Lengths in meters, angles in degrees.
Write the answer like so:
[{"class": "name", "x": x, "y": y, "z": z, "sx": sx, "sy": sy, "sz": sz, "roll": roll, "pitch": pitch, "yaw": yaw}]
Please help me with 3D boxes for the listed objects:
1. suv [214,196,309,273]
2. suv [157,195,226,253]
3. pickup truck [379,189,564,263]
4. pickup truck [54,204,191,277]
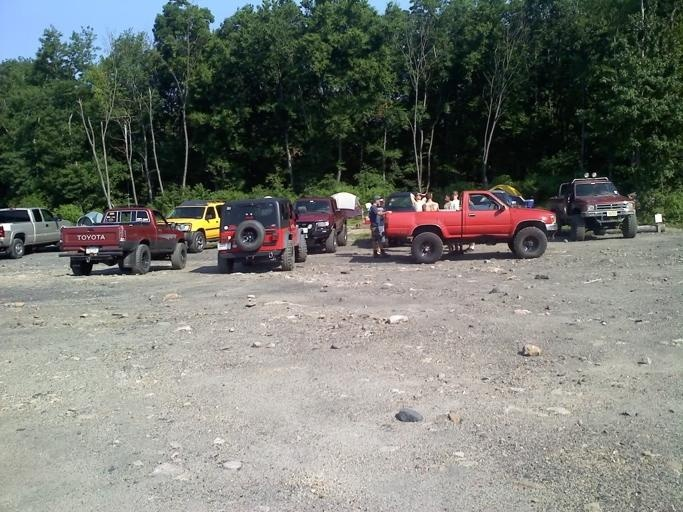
[{"class": "suv", "x": -2.520, "y": -0.832, "z": 17.079, "sx": 1.667, "sy": 1.772, "sz": 3.194, "roll": 0, "pitch": 10, "yaw": 8}, {"class": "suv", "x": -6.672, "y": -1.466, "z": 24.883, "sx": 2.083, "sy": 2.188, "sz": 3.910, "roll": 1, "pitch": 3, "yaw": 13}, {"class": "pickup truck", "x": 4.264, "y": -0.987, "z": 17.959, "sx": 4.273, "sy": 2.187, "sz": 2.662, "roll": -2, "pitch": 3, "yaw": 3}, {"class": "pickup truck", "x": -6.753, "y": -0.426, "z": 17.659, "sx": 2.128, "sy": 1.897, "sz": 3.944, "roll": 2, "pitch": 7, "yaw": 18}]
